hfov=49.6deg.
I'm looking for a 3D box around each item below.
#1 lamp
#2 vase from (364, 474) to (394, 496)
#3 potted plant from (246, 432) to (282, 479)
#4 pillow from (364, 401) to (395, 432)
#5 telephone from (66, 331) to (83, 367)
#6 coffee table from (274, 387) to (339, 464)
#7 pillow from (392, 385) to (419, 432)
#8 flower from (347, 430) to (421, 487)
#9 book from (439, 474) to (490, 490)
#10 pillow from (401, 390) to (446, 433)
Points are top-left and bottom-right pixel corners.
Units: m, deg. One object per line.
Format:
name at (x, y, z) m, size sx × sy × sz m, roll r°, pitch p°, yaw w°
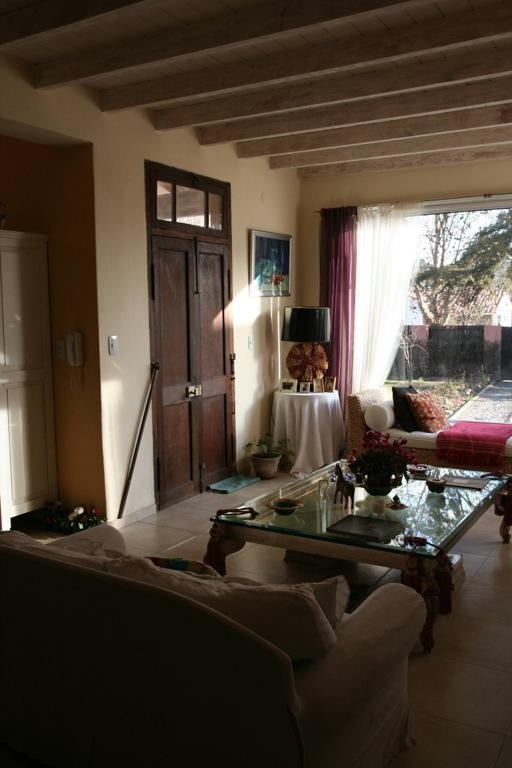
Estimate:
lamp at (0.517, -0.368, 5.497) m, size 0.461 × 0.808 × 0.467 m, roll 0°, pitch 8°, yaw 13°
vase at (0.643, 0.532, 2.894) m, size 0.120 × 0.084 × 0.110 m, roll -2°, pitch 6°, yaw -19°
potted plant at (0.071, 0.697, 5.285) m, size 0.371 × 0.412 × 0.325 m, roll 1°, pitch -2°, yaw -36°
pillow at (1.122, 0.294, 4.935) m, size 0.282 × 0.251 × 0.197 m, roll -1°, pitch 2°, yaw -38°
telephone at (-1.199, -0.232, 3.682) m, size 0.105 × 0.210 × 0.044 m, roll 0°, pitch 1°, yaw -21°
coffee table at (0.467, 0.358, 5.470) m, size 0.610 × 0.710 × 0.587 m, roll 6°, pitch 22°, yaw 23°
pillow at (1.308, 0.235, 4.863) m, size 0.117 × 0.262 × 0.353 m, roll 4°, pitch 5°, yaw 25°
flower at (0.664, 0.399, 3.056) m, size 0.296 × 0.346 × 0.334 m, roll -1°, pitch 2°, yaw -41°
book at (1.292, 0.604, 3.410) m, size 0.342 × 0.049 × 0.462 m, roll -3°, pitch -7°, yaw 37°
pillow at (1.504, 0.249, 4.893) m, size 0.320 × 0.333 × 0.330 m, roll 1°, pitch 2°, yaw 33°
